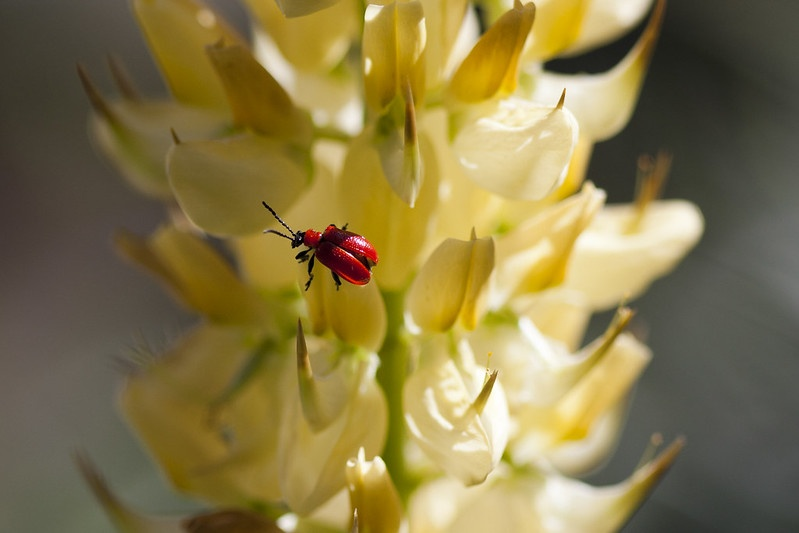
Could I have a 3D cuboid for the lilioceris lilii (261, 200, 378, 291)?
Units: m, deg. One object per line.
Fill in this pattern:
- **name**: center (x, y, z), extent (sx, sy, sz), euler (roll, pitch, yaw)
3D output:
- **lilioceris lilii**: center (-0.115, -0.022, 1.302), extent (0.135, 0.039, 0.124), euler (23, 58, -15)
